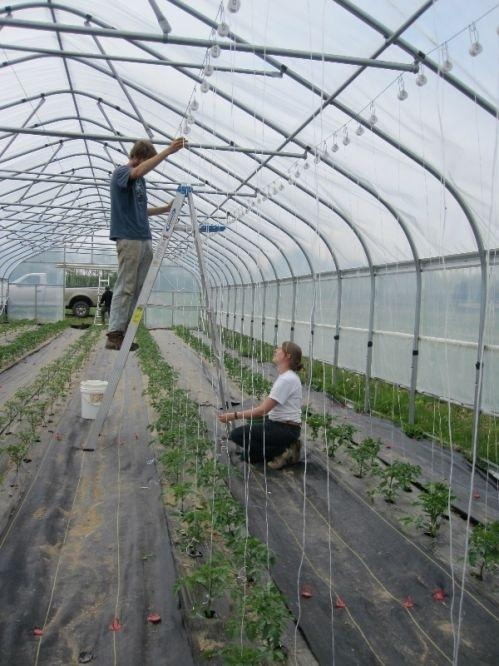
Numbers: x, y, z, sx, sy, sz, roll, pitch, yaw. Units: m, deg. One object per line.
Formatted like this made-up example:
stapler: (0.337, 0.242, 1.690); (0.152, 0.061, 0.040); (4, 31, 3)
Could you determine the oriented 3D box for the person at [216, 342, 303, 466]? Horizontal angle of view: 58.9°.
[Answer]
person: (0.223, 0.704, 4.532); (0.984, 1.487, 1.070); (2, -3, 12)
